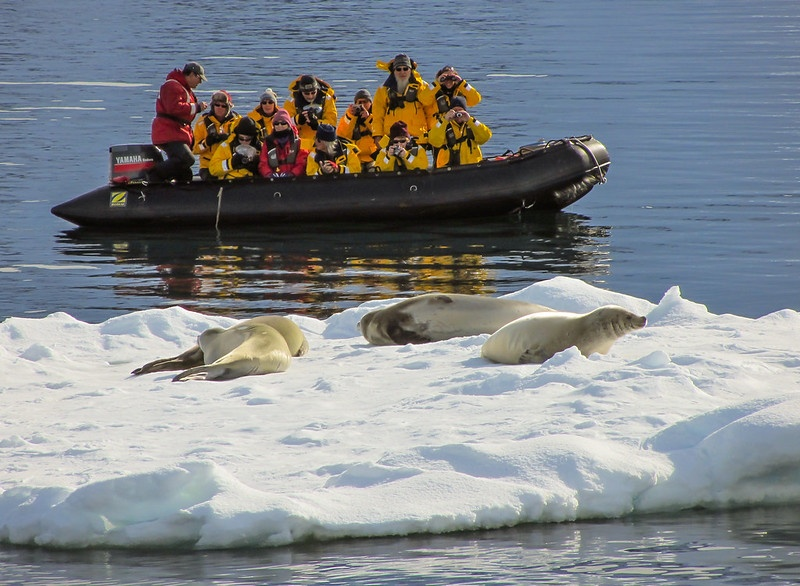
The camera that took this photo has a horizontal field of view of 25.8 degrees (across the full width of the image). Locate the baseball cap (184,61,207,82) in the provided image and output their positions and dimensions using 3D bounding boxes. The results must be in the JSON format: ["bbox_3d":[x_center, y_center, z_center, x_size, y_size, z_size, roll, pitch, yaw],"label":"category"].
[{"bbox_3d":[-3.087,-3.282,25.724,0.319,0.262,0.414,-1,2,-7],"label":"baseball cap"}]

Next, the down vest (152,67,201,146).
[{"bbox_3d":[-3.372,-2.751,25.724,0.676,1.136,0.710,-2,3,-7],"label":"down vest"}]

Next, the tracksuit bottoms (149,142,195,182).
[{"bbox_3d":[-3.440,-1.942,25.811,0.554,0.576,0.447,18,24,-5],"label":"tracksuit bottoms"}]

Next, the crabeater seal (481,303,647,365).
[{"bbox_3d":[1.875,0.512,19.454,2.111,0.479,0.930,-5,1,35],"label":"crabeater seal"}]

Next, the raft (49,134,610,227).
[{"bbox_3d":[-0.819,-1.651,26.323,7.789,1.351,1.253,-1,2,0],"label":"raft"}]

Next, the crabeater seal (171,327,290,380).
[{"bbox_3d":[-1.937,0.639,19.623,1.600,0.509,1.253,-1,15,-17],"label":"crabeater seal"}]
